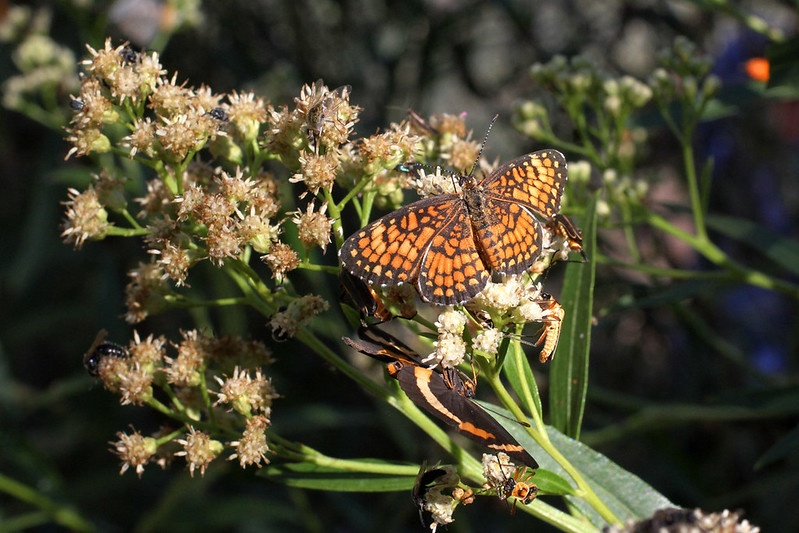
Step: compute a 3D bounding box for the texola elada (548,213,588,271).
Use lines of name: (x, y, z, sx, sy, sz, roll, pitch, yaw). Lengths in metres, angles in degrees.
texola elada: (0.661, -0.118, 3.346, 0.142, 0.214, 0.058, 1, -21, -42)

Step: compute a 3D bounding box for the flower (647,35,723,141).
flower: (1.235, -0.800, 3.653, 0.252, 0.436, 0.243, 14, 21, 40)
